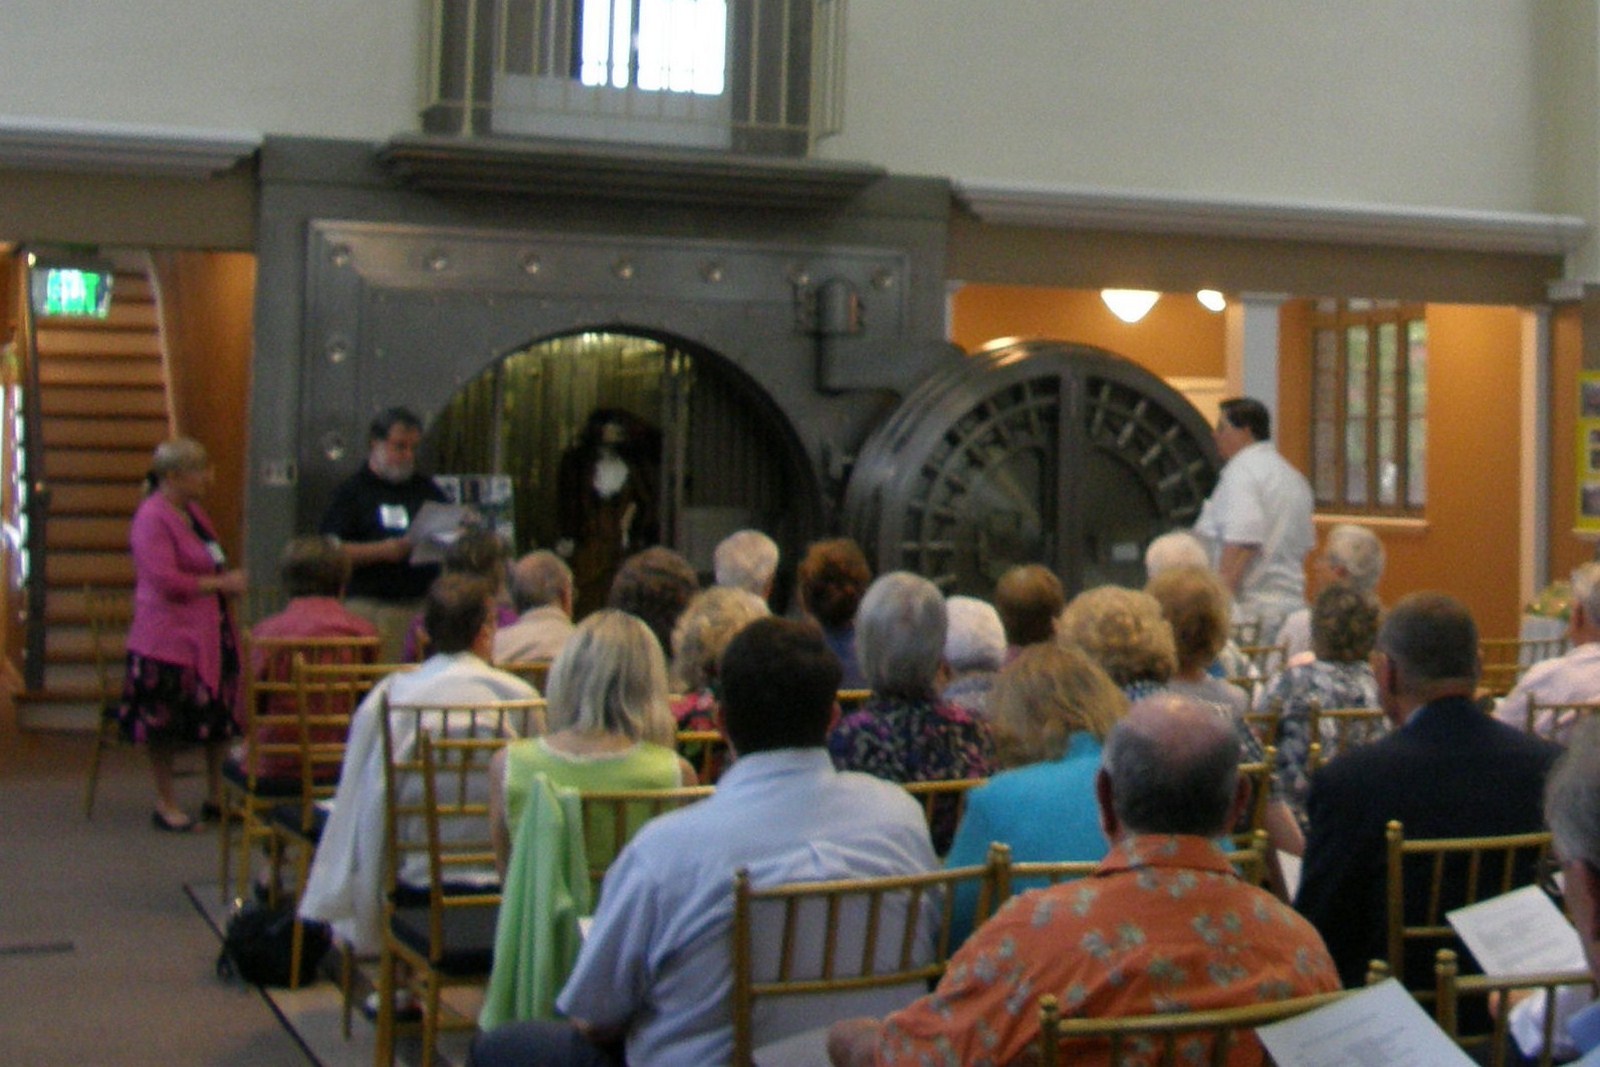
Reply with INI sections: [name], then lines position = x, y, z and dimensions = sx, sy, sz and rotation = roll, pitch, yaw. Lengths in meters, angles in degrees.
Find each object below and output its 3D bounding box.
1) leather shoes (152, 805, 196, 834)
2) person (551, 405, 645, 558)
[leather shoes]
position = -3.100, 1.410, 9.617
dimensions = 0.252, 0.118, 0.102
rotation = 0, 0, 26
[person]
position = -1.155, -0.301, 11.115
dimensions = 0.534, 0.855, 0.219
rotation = 0, 2, -1
